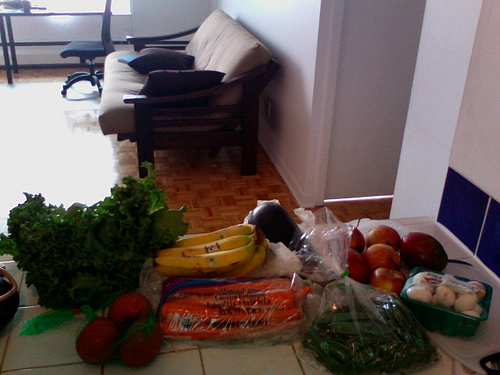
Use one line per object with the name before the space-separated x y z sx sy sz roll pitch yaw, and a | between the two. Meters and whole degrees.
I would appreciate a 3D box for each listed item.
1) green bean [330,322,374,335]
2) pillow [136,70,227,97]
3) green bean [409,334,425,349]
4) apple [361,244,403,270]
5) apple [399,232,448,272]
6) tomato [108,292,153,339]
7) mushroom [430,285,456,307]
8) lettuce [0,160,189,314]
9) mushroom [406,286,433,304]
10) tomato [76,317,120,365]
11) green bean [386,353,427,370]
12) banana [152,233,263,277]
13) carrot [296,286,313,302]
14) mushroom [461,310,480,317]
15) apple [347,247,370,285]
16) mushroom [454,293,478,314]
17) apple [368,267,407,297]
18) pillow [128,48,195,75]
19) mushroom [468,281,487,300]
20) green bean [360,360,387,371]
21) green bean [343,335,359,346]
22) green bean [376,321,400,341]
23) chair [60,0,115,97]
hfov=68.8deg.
green bean | 0.199 0.281 0.744 0.064 0.026 0.010 -3 -14 3
pillow | -0.476 -0.731 2.555 0.600 0.167 0.136 -1 23 -5
green bean | 0.341 0.312 0.741 0.031 0.019 0.016 5 23 10
apple | 0.327 0.171 0.911 0.084 0.075 0.071 -11 0 18
apple | 0.444 0.167 0.941 0.090 0.087 0.105 -18 29 -37
tomato | -0.253 0.269 0.765 0.070 0.076 0.087 -15 29 1
mushroom | 0.414 0.233 0.777 0.045 0.032 0.031 14 26 28
lettuce | -0.343 0.058 0.907 0.343 0.345 0.279 -2 7 -2
mushroom | 0.369 0.231 0.792 0.053 0.020 0.033 8 24 16
tomato | -0.298 0.286 0.722 0.064 0.090 0.068 12 28 -35
green bean | 0.308 0.345 0.728 0.095 0.023 0.027 -6 -4 -9
banana | -0.097 0.168 0.866 0.254 0.118 0.073 2 -18 -1
carrot | 0.119 0.230 0.803 0.051 0.015 0.015 -40 31 3
mushroom | 0.457 0.259 0.752 0.031 0.008 0.018 -3 24 -9
apple | 0.258 0.198 0.906 0.042 0.075 0.058 -30 16 44
mushroom | 0.451 0.241 0.765 0.057 0.028 0.026 -9 25 -22
apple | 0.321 0.212 0.850 0.080 0.054 0.087 15 28 32
pillow | -0.827 -1.180 3.411 0.337 0.117 0.379 -6 38 -12
mushroom | 0.501 0.225 0.806 0.029 0.032 0.012 2 -19 -43
green bean | 0.241 0.348 0.717 0.049 0.011 0.014 -8 -7 -5
green bean | 0.204 0.304 0.731 0.019 0.005 0.018 -29 39 10
green bean | 0.280 0.291 0.740 0.037 0.010 0.008 34 52 11
chair | -2.027 -1.744 4.549 0.683 1.039 0.933 -8 24 -20
